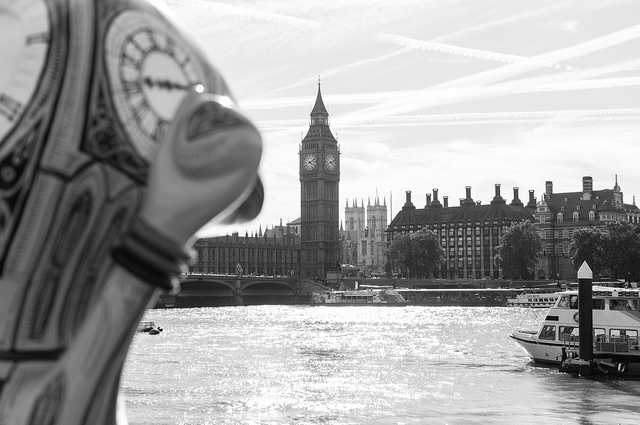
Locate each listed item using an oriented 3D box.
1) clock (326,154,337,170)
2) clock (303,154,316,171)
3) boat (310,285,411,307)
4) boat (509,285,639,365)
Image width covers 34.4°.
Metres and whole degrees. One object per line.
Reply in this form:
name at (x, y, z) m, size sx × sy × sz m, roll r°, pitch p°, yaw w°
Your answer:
clock at (1.132, -5.407, 112.559) m, size 0.094 × 1.410 × 1.427 m, roll -3°, pitch -26°, yaw 31°
clock at (-1.134, -5.481, 112.094) m, size 1.684 × 1.650 × 1.440 m, roll 1°, pitch -1°, yaw -43°
boat at (3.718, 7.503, 90.304) m, size 6.153 × 1.240 × 1.608 m, roll -4°, pitch -4°, yaw 25°
boat at (6.687, 3.005, 26.449) m, size 1.720 × 2.165 × 3.726 m, roll 12°, pitch -1°, yaw -6°
